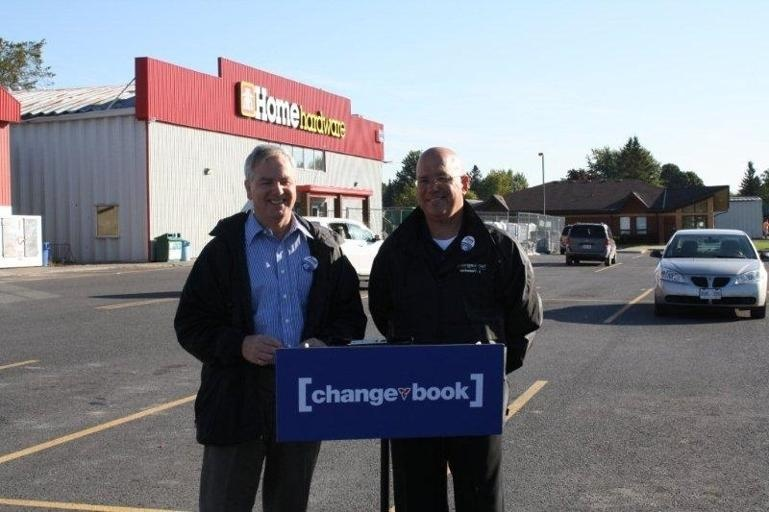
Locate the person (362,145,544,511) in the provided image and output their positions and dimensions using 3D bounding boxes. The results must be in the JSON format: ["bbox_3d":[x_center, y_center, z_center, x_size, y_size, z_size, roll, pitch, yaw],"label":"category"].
[{"bbox_3d":[0.495,0.554,4.743,1.226,2.660,0.682,-1,2,-3],"label":"person"}]

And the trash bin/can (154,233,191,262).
[{"bbox_3d":[-9.704,-0.275,30.130,0.966,1.653,1.752,-3,-2,24],"label":"trash bin/can"}]

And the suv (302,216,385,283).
[{"bbox_3d":[-0.829,-0.128,17.576,1.424,1.449,2.391,2,7,37],"label":"suv"}]

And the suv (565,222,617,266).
[{"bbox_3d":[9.386,-0.490,30.338,2.021,1.840,0.855,-1,2,3],"label":"suv"}]
